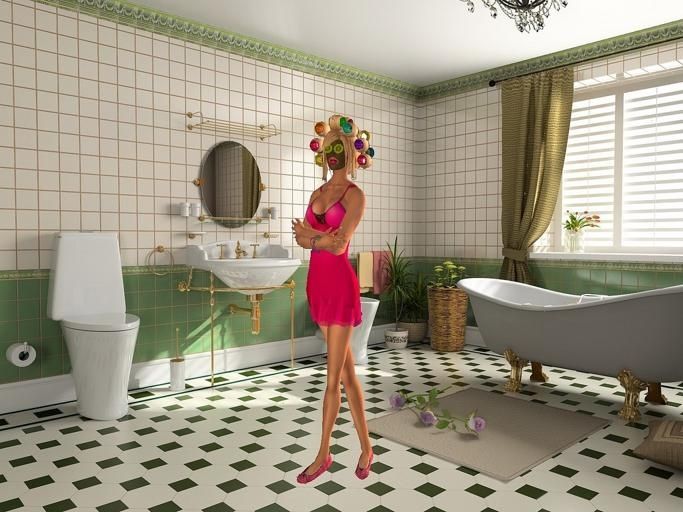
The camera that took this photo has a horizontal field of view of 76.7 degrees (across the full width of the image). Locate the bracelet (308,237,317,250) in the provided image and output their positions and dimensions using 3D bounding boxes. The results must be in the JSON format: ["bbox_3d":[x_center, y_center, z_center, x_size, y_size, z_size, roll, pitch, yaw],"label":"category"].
[{"bbox_3d":[-0.136,-0.070,2.100,0.052,0.059,0.020,5,8,44],"label":"bracelet"}]

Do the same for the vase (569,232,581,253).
[{"bbox_3d":[2.477,-0.157,4.602,0.126,0.205,0.061,3,7,29],"label":"vase"}]

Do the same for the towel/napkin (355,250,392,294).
[{"bbox_3d":[0.343,0.169,4.954,0.557,0.486,0.099,-3,4,-44],"label":"towel/napkin"}]

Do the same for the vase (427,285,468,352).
[{"bbox_3d":[1.198,0.694,4.932,0.444,0.703,0.294,1,6,12],"label":"vase"}]

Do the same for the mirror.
[{"bbox_3d":[-1.098,-0.676,4.089,0.084,0.967,0.955,2,3,44],"label":"mirror"}]

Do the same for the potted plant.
[{"bbox_3d":[0.818,0.387,5.367,0.494,1.271,0.732,4,7,34],"label":"potted plant"}]

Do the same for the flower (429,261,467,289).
[{"bbox_3d":[1.257,0.211,5.282,0.347,0.240,0.345,-1,4,-28],"label":"flower"}]

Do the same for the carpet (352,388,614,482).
[{"bbox_3d":[0.924,1.184,3.131,1.109,0.018,1.403,-6,-3,-31],"label":"carpet"}]

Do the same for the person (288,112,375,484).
[{"bbox_3d":[-0.046,0.236,2.235,0.390,1.875,0.395,0,6,2],"label":"person"}]

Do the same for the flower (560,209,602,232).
[{"bbox_3d":[2.557,-0.382,4.609,0.268,0.130,0.259,7,-5,-39],"label":"flower"}]
